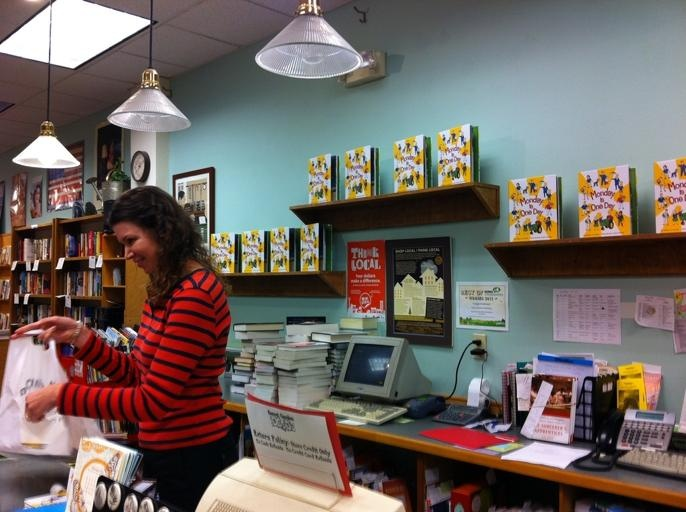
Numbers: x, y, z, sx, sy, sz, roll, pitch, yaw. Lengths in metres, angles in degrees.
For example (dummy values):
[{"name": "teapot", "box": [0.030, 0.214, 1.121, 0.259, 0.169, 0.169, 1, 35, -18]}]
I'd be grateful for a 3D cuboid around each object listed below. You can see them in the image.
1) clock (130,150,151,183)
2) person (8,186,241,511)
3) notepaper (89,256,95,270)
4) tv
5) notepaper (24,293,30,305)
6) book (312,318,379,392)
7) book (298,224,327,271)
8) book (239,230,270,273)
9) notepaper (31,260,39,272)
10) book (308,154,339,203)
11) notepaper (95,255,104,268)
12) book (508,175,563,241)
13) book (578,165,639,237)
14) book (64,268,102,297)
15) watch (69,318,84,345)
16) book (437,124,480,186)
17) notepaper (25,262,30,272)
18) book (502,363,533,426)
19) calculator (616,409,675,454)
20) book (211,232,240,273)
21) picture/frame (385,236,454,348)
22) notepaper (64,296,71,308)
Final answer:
[{"name": "clock", "box": [-2.040, -0.914, 5.047, 0.065, 0.323, 0.315, 4, 5, -41]}, {"name": "person", "box": [-0.769, 0.352, 1.928, 0.689, 1.310, 0.752, 4, 1, -38]}, {"name": "notepaper", "box": [-2.679, 0.068, 5.337, 0.017, 0.153, 0.154, -3, 2, -38]}, {"name": "tv", "box": [0.256, 0.638, 3.034, 0.530, 0.381, 0.345, 7, 3, 38]}, {"name": "notepaper", "box": [-4.032, 0.540, 6.372, 0.133, 0.153, 0.016, -8, -13, 40]}, {"name": "book", "box": [0.026, 0.617, 3.298, 0.303, 0.426, 0.362, 1, 3, -40]}, {"name": "book", "box": [-0.216, -0.063, 3.569, 0.202, 0.287, 0.155, 1, 0, 6]}, {"name": "book", "box": [-0.686, -0.035, 3.930, 0.336, 0.405, 0.056, 0, 1, 43]}, {"name": "notepaper", "box": [-3.814, 0.111, 6.177, 0.134, 0.168, 0.013, 5, 5, 32]}, {"name": "book", "box": [-0.146, -0.531, 3.458, 0.236, 0.285, 0.107, 1, 0, 23]}, {"name": "notepaper", "box": [-2.518, 0.055, 5.165, 0.020, 0.128, 0.125, 3, -4, -39]}, {"name": "book", "box": [1.007, -0.251, 2.648, 0.249, 0.335, 0.059, 1, 0, 41]}, {"name": "book", "box": [1.262, -0.262, 2.420, 0.053, 0.332, 0.226, 1, 0, -41]}, {"name": "book", "box": [-2.912, 0.303, 5.616, 0.326, 0.324, 0.182, 2, 3, 41]}, {"name": "watch", "box": [-1.034, 0.299, 1.950, 0.024, 0.071, 0.070, 5, 6, 5]}, {"name": "book", "box": [0.644, -0.576, 2.886, 0.151, 0.352, 0.240, 2, 3, -25]}, {"name": "notepaper", "box": [-4.012, 0.128, 6.364, 0.124, 0.150, 0.020, 4, 7, 39]}, {"name": "book", "box": [0.888, 0.715, 2.576, 0.079, 0.276, 0.201, 4, 2, 6]}, {"name": "calculator", "box": [1.321, 0.757, 2.179, 0.181, 0.059, 0.198, -3, 43, 38]}, {"name": "book", "box": [-0.909, -0.028, 3.906, 0.097, 0.291, 0.291, 0, -10, -42]}, {"name": "picture/frame", "box": [0.440, 0.223, 3.186, 0.446, 0.646, 0.038, 6, 2, 42]}, {"name": "notepaper", "box": [-3.082, 0.509, 5.597, 0.022, 0.162, 0.141, -3, 2, -42]}]
